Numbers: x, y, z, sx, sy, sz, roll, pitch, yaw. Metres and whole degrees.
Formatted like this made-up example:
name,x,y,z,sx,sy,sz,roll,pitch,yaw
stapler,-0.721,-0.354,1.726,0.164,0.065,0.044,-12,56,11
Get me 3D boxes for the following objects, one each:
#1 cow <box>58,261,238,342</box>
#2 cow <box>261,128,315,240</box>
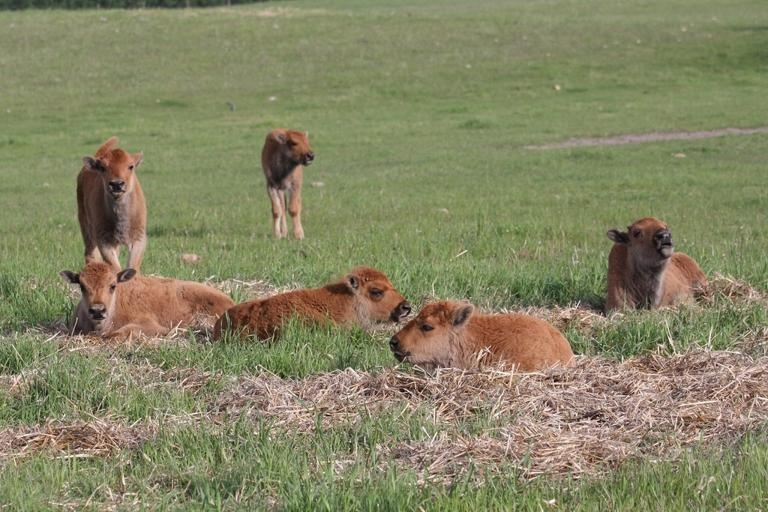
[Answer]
name,x,y,z,sx,sy,sz,roll,pitch,yaw
cow,-6.118,1.215,32.542,3.053,1.335,2.249,6,-5,-37
cow,-3.048,-2.451,40.750,1.463,3.268,2.456,-4,13,-11
